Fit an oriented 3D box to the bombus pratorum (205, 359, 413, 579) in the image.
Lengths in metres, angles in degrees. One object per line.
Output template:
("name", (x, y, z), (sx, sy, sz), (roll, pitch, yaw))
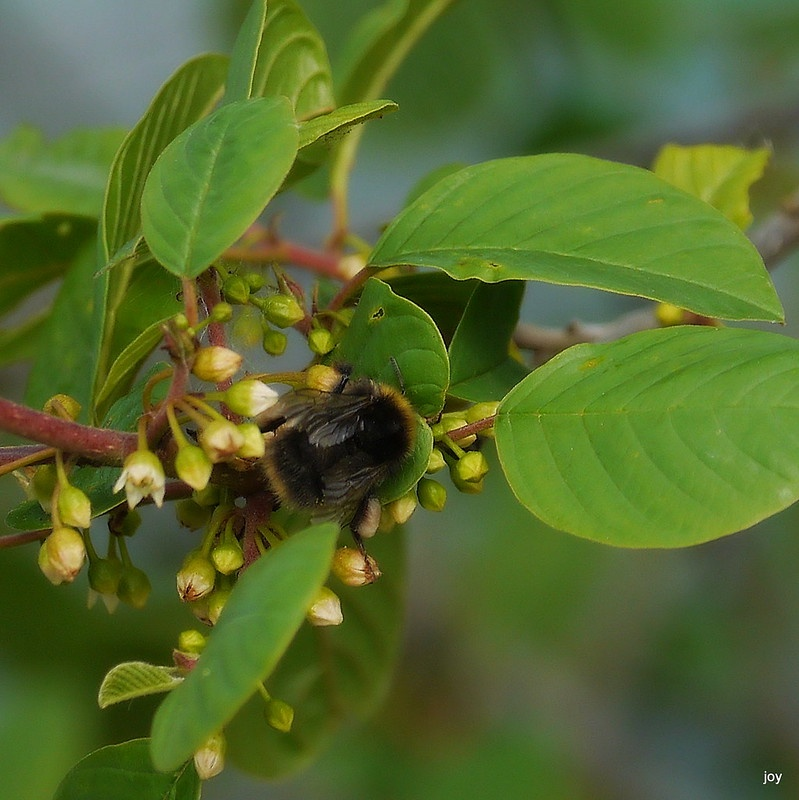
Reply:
("bombus pratorum", (-0.136, 0.090, 1.588), (0.235, 0.295, 0.103), (44, -9, -17))
